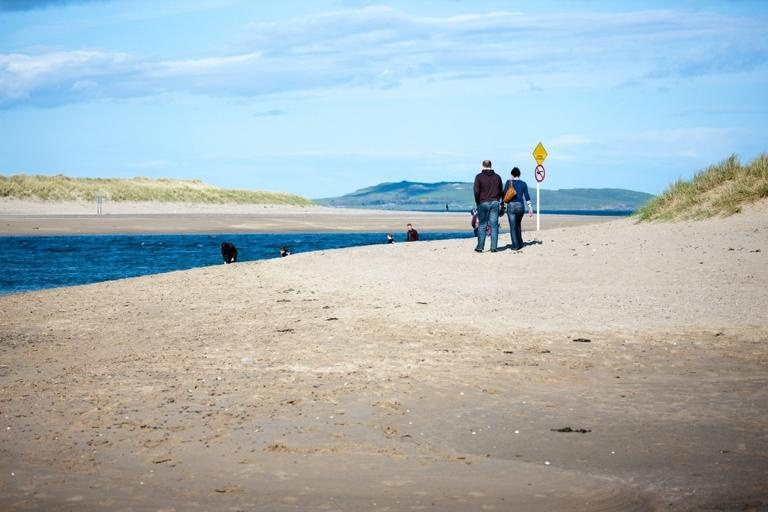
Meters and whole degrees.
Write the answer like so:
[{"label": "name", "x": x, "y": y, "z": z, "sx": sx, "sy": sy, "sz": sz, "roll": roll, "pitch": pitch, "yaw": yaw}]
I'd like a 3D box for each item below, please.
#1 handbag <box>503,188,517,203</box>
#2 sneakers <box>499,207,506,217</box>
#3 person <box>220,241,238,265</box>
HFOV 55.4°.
[{"label": "handbag", "x": 3.169, "y": -1.545, "z": 18.487, "sx": 0.303, "sy": 0.418, "sz": 0.284, "roll": -1, "pitch": 8, "yaw": 20}, {"label": "sneakers", "x": 3.027, "y": -1.137, "z": 18.680, "sx": 0.190, "sy": 0.239, "sz": 0.288, "roll": 0, "pitch": -4, "yaw": -7}, {"label": "person", "x": -5.514, "y": -0.130, "z": 26.406, "sx": 0.436, "sy": 0.684, "sz": 0.583, "roll": -7, "pitch": 8, "yaw": -20}]
